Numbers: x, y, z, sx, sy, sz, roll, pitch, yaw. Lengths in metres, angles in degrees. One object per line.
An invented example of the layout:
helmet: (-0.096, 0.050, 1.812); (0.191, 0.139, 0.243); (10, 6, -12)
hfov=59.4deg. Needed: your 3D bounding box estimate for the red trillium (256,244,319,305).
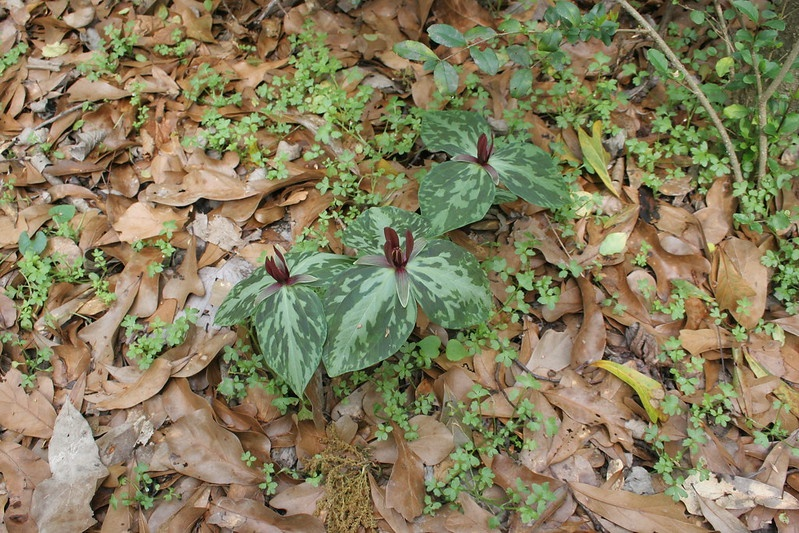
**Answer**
red trillium: (-0.628, 0.025, 3.901); (0.247, 0.211, 0.350); (-1, 45, 17)
